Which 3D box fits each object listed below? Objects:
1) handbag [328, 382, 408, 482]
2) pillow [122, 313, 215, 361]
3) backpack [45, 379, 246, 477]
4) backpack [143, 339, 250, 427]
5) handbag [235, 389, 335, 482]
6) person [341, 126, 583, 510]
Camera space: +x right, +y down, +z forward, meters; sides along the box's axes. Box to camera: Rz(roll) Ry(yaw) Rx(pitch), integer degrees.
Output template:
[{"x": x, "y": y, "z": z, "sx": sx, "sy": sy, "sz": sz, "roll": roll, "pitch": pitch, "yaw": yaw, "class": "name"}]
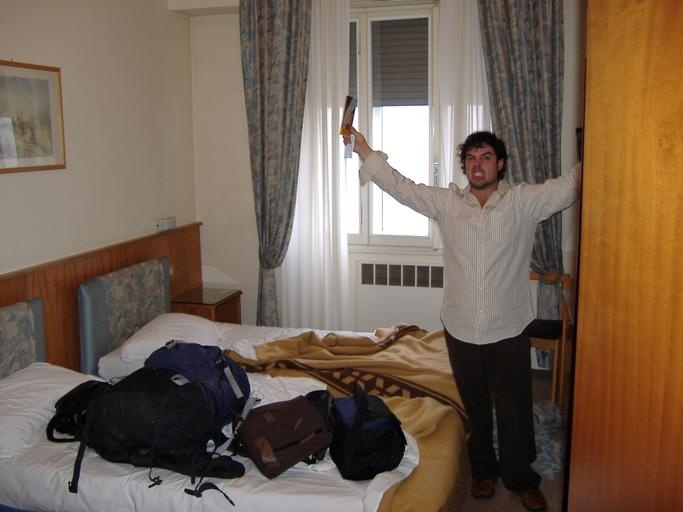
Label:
[{"x": 0.118, "y": 0.792, "z": 2.414, "sx": 0.348, "sy": 0.296, "sz": 0.362, "roll": -2, "pitch": 10, "yaw": -1, "class": "handbag"}, {"x": -1.132, "y": 0.514, "z": 3.417, "sx": 0.282, "sy": 0.105, "sz": 0.372, "roll": 8, "pitch": 9, "yaw": 12, "class": "pillow"}, {"x": -0.910, "y": 0.769, "z": 2.387, "sx": 0.594, "sy": 0.239, "sz": 0.499, "roll": 7, "pitch": 12, "yaw": -1, "class": "backpack"}, {"x": -0.742, "y": 0.686, "z": 2.772, "sx": 0.408, "sy": 0.159, "sz": 0.378, "roll": 22, "pitch": 19, "yaw": -4, "class": "backpack"}, {"x": -0.243, "y": 0.807, "z": 2.371, "sx": 0.286, "sy": 0.114, "sz": 0.307, "roll": -17, "pitch": 40, "yaw": -14, "class": "handbag"}, {"x": 0.721, "y": 0.338, "z": 2.700, "sx": 0.729, "sy": 1.920, "sz": 0.359, "roll": 3, "pitch": 11, "yaw": 25, "class": "person"}]
